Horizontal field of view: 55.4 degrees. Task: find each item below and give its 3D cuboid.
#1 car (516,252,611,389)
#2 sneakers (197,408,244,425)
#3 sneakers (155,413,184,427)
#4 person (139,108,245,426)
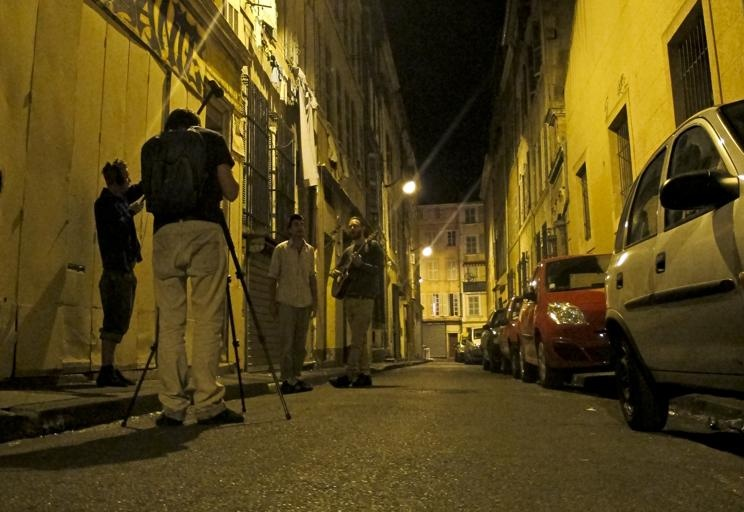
[{"bbox_3d":[2.915,1.031,10.847,1.099,1.284,2.249,-2,-12,7],"label":"car"},{"bbox_3d":[-1.435,1.481,6.720,0.405,0.206,0.157,-3,0,-15],"label":"sneakers"},{"bbox_3d":[-1.881,1.542,6.550,0.184,0.077,0.131,7,-22,5],"label":"sneakers"},{"bbox_3d":[-1.698,0.165,6.554,0.871,2.733,0.577,2,-11,-19],"label":"person"}]
